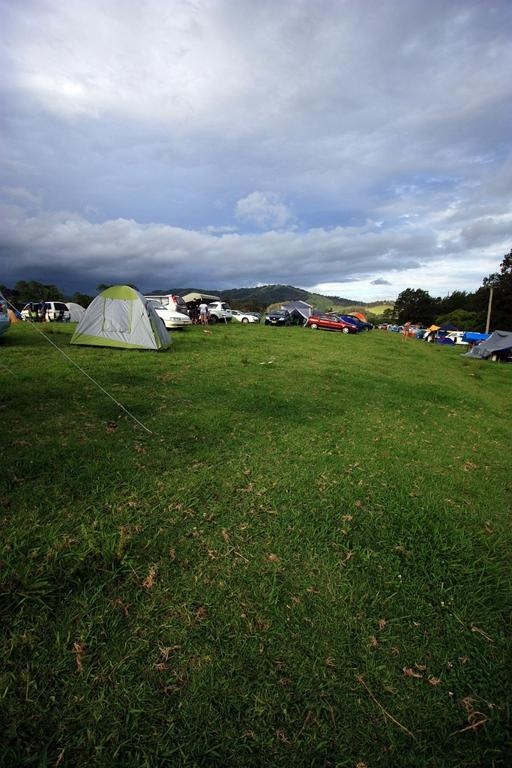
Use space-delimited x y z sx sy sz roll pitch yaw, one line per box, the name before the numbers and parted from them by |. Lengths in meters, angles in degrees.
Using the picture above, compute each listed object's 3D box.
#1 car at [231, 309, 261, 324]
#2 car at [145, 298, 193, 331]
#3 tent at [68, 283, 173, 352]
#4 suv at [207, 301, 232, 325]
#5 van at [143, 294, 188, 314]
car | -0.717 -5.338 36.563 2.548 0.963 1.226 -4 17 -12
car | -4.190 -3.375 21.489 2.486 0.932 1.097 14 18 35
tent | -4.257 -2.084 14.060 2.462 1.968 0.770 5 10 -3
suv | -2.625 -5.157 32.127 1.111 1.299 2.012 9 19 24
van | -4.438 -3.996 21.831 1.768 1.030 1.084 11 16 28
